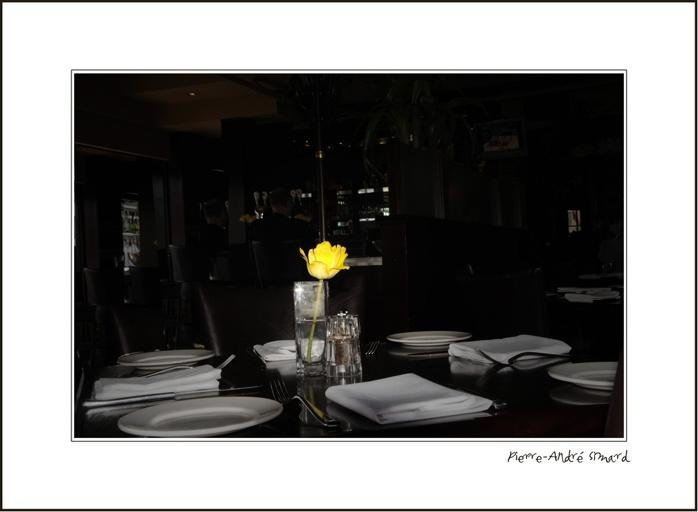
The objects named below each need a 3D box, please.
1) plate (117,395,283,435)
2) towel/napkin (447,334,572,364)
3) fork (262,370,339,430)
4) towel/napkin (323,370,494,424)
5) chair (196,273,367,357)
[{"bbox_3d":[-0.292,0.323,1.150,0.311,0.023,0.227,-3,2,-23],"label":"plate"},{"bbox_3d":[0.443,0.257,1.615,0.187,0.032,0.132,-3,2,-25],"label":"towel/napkin"},{"bbox_3d":[-0.113,0.298,1.257,0.058,0.048,0.414,1,-3,-11],"label":"fork"},{"bbox_3d":[0.121,0.292,1.189,0.294,0.041,0.219,-3,2,-19],"label":"towel/napkin"},{"bbox_3d":[-0.318,0.247,2.365,0.366,0.475,0.389,9,-23,-38],"label":"chair"}]
